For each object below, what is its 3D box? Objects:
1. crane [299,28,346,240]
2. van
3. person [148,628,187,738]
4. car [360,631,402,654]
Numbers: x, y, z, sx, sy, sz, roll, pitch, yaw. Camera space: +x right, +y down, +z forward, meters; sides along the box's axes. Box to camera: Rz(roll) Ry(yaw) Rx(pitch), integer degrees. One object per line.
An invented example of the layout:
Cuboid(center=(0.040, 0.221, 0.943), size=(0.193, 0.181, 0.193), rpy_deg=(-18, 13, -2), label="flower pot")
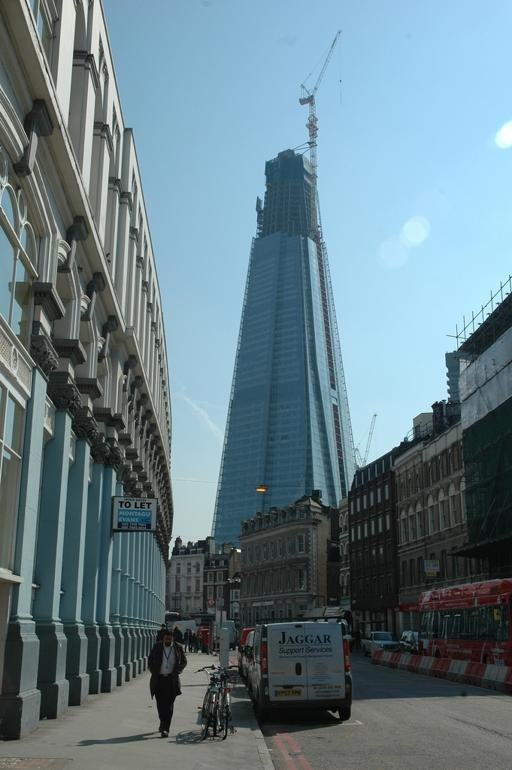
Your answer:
Cuboid(center=(28.032, -110.910, 267.982), size=(14.094, 99.950, 31.362), rpy_deg=(9, -15, -29), label="crane")
Cuboid(center=(0.849, 5.671, 11.615), size=(2.044, 1.831, 1.539), rpy_deg=(-9, -22, 23), label="van")
Cuboid(center=(-1.330, 4.288, 8.504), size=(0.459, 1.466, 0.414), rpy_deg=(3, -11, -5), label="person")
Cuboid(center=(9.982, 20.461, 46.473), size=(1.988, 1.684, 5.266), rpy_deg=(0, -22, 1), label="car")
